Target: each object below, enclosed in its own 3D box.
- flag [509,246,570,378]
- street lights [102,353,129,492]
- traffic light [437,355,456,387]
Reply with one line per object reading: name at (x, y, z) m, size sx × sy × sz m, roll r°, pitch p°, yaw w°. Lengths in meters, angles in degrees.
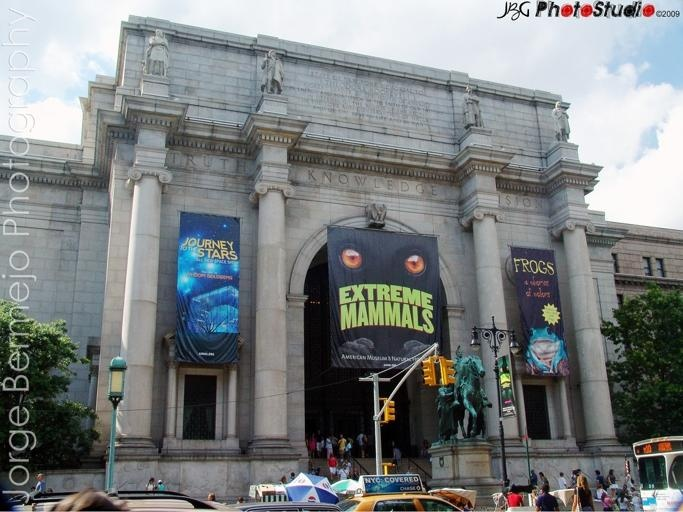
flag at (12.882, 3.500, 43.907) m, size 3.145 × 8.411 × 0.471 m, roll 3°, pitch -19°, yaw -17°
street lights at (-8.230, 6.050, 24.206) m, size 0.835 × 4.732 × 0.784 m, roll -6°, pitch -13°, yaw 24°
traffic light at (4.806, 5.272, 31.007) m, size 0.674 × 1.337 × 1.957 m, roll -5°, pitch -18°, yaw 8°
